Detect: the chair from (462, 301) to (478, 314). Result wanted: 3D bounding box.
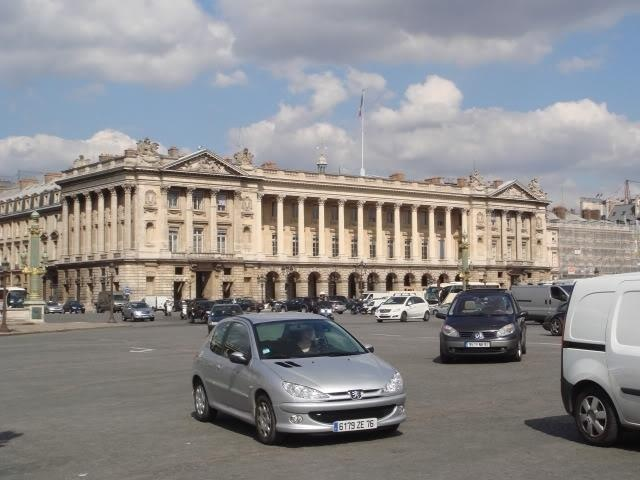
[{"bbox_3d":[4.425,1.998,21.292,0.373,0.353,0.327,-2,-8,14],"label":"chair"}]

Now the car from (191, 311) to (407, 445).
[{"bbox_3d":[-0.517,2.095,11.533,1.857,1.244,2.985,3,-8,-28],"label":"car"}]

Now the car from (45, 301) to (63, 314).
[{"bbox_3d":[-31.475,7.975,83.993,1.213,0.861,2.616,0,-6,-29],"label":"car"}]

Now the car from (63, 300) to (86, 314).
[{"bbox_3d":[-29.770,7.981,85.354,1.487,1.145,2.432,6,-11,-40],"label":"car"}]

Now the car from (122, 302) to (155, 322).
[{"bbox_3d":[-16.226,6.274,63.192,1.642,1.059,2.897,3,-10,-28],"label":"car"}]
